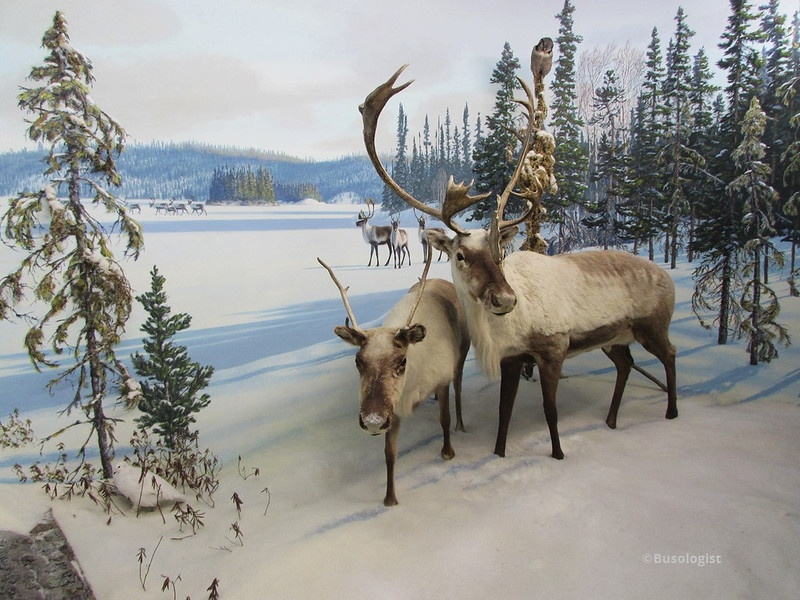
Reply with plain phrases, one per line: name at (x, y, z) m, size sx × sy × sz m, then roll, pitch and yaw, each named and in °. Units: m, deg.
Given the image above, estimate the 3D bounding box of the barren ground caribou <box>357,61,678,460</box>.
barren ground caribou at (1.554, -0.179, 6.397) m, size 3.923 × 3.896 × 1.769 m, roll -2°, pitch 6°, yaw -35°

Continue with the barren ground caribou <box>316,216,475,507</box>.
barren ground caribou at (0.204, 0.586, 6.313) m, size 0.856 × 2.731 × 2.835 m, roll -1°, pitch 14°, yaw 20°

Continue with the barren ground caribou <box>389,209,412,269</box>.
barren ground caribou at (-0.029, -0.826, 8.361) m, size 0.203 × 0.776 × 0.749 m, roll 2°, pitch 8°, yaw 12°
